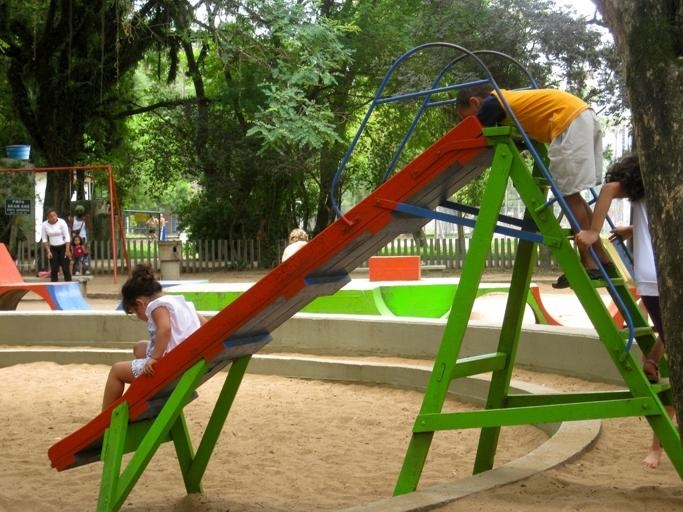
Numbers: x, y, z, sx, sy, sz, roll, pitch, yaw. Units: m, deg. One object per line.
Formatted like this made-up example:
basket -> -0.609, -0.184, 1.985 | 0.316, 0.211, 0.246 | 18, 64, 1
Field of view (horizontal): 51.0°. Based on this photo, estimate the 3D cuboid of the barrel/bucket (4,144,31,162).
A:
barrel/bucket -> -11.513, -3.657, 25.484 | 0.714, 0.556, 0.905 | -5, 10, -22

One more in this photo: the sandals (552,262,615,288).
sandals -> 1.842, 0.156, 5.341 | 0.536, 0.239, 0.202 | -5, 4, 3

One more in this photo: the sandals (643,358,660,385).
sandals -> 2.289, 0.854, 5.291 | 0.073, 0.090, 0.216 | -3, 28, 0

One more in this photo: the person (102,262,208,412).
person -> -1.624, 0.798, 5.927 | 1.059, 1.417, 0.724 | -6, -7, 24
